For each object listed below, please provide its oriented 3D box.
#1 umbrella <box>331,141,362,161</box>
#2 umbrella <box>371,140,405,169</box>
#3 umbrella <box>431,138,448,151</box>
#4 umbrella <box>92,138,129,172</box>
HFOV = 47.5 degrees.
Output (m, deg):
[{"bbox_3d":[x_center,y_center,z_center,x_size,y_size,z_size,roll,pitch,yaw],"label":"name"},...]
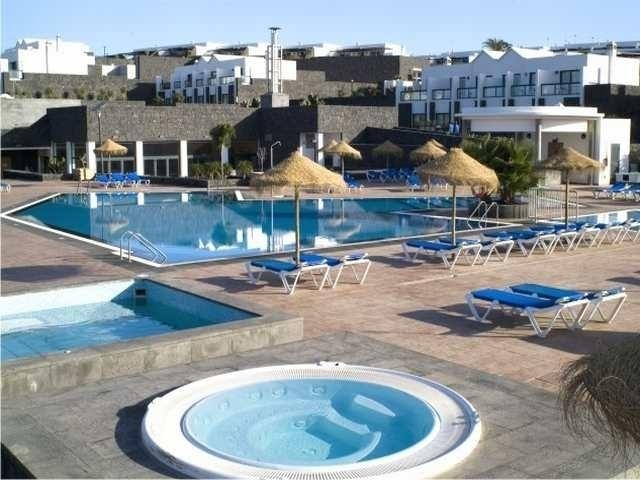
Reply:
[{"bbox_3d":[1.199,-4.477,36.306,1.646,0.778,1.612,-3,10,-27],"label":"umbrella"},{"bbox_3d":[3.988,-4.950,42.101,1.480,1.461,1.516,0,9,3],"label":"umbrella"},{"bbox_3d":[5.668,-4.539,34.167,1.066,0.389,1.076,15,10,18],"label":"umbrella"},{"bbox_3d":[-10.661,-4.115,37.063,1.864,1.692,1.812,5,16,11],"label":"umbrella"}]
